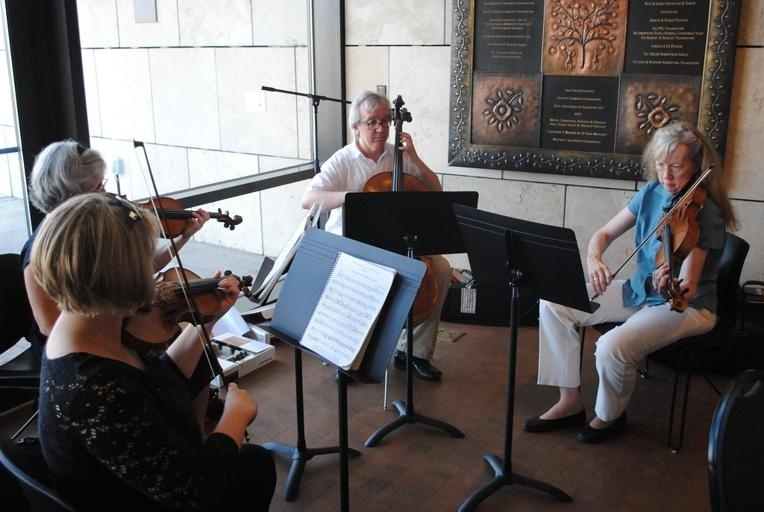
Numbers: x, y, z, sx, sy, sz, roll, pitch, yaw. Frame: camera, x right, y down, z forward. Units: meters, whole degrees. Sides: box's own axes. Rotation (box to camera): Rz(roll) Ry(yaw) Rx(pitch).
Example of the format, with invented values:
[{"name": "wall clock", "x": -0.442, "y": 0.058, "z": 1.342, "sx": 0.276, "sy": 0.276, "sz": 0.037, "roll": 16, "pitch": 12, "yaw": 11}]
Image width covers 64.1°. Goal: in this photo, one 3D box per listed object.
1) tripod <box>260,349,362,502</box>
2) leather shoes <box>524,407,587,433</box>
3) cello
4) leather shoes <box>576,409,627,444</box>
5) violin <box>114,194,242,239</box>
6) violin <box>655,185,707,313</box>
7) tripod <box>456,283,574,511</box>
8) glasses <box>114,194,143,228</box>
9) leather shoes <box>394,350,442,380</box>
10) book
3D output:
[{"name": "tripod", "x": -0.368, "y": 0.914, "z": 3.225, "sx": 0.519, "sy": 0.744, "sz": 0.535, "roll": -8, "pitch": 24, "yaw": -24}, {"name": "leather shoes", "x": 0.990, "y": 0.938, "z": 3.529, "sx": 0.384, "sy": 0.139, "sz": 0.130, "roll": 1, "pitch": 0, "yaw": -3}, {"name": "cello", "x": 0.113, "y": -0.461, "z": 4.004, "sx": 0.597, "sy": 1.528, "sz": 0.233, "roll": 5, "pitch": 57, "yaw": 5}, {"name": "leather shoes", "x": 1.218, "y": 0.963, "z": 3.454, "sx": 0.313, "sy": 0.132, "sz": 0.114, "roll": -5, "pitch": 10, "yaw": -27}, {"name": "violin", "x": -1.175, "y": -0.283, "z": 3.623, "sx": 0.726, "sy": 0.105, "sz": 0.281, "roll": 12, "pitch": -11, "yaw": 22}, {"name": "violin", "x": 1.548, "y": -0.097, "z": 3.158, "sx": 0.114, "sy": 0.254, "sz": 0.684, "roll": 27, "pitch": 42, "yaw": 1}, {"name": "tripod", "x": 0.604, "y": 0.678, "z": 2.972, "sx": 0.565, "sy": 1.020, "sz": 0.491, "roll": -4, "pitch": 20, "yaw": -16}, {"name": "glasses", "x": -0.861, "y": -0.165, "z": 2.075, "sx": 0.116, "sy": 0.083, "sz": 0.042, "roll": 39, "pitch": 75, "yaw": 16}, {"name": "leather shoes", "x": 0.245, "y": 0.723, "z": 4.059, "sx": 0.363, "sy": 0.156, "sz": 0.135, "roll": 13, "pitch": 24, "yaw": 30}, {"name": "book", "x": -0.142, "y": 0.214, "z": 2.514, "sx": 0.307, "sy": 0.397, "sz": 0.260, "roll": 16, "pitch": 24, "yaw": 35}]
